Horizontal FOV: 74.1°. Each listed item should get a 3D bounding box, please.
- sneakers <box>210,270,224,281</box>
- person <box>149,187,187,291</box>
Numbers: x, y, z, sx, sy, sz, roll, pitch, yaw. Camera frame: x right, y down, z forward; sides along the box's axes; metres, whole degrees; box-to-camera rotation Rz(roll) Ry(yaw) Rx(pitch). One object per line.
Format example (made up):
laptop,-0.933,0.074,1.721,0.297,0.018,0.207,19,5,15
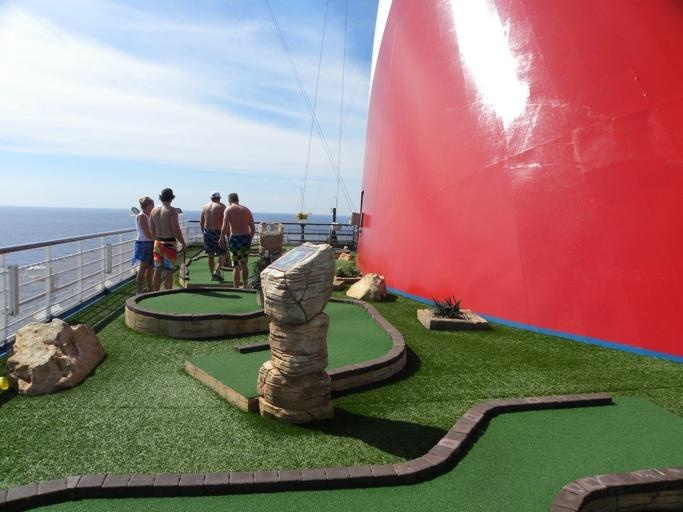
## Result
sneakers,-2.677,0.443,9.616,0.141,0.142,0.346,1,-1,-32
person,-3.079,-0.228,7.940,0.856,1.867,0.391,11,15,34
